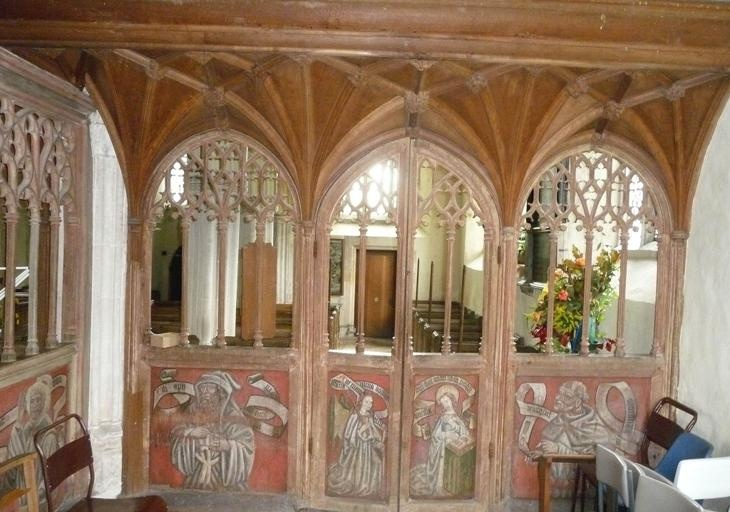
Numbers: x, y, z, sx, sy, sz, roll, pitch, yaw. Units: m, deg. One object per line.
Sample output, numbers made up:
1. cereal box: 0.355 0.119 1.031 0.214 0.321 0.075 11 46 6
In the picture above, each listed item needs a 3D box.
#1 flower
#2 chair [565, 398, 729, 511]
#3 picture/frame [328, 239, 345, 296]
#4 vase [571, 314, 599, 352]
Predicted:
1. flower: 2.418 0.568 8.011 0.757 1.070 0.870 10 -20 -31
2. chair: 2.687 2.111 6.982 1.216 1.238 1.345 4 6 17
3. picture/frame: -0.718 0.299 18.585 0.348 1.535 0.318 2 5 -1
4. vase: 2.443 0.853 7.788 0.343 0.424 0.318 2 6 0
